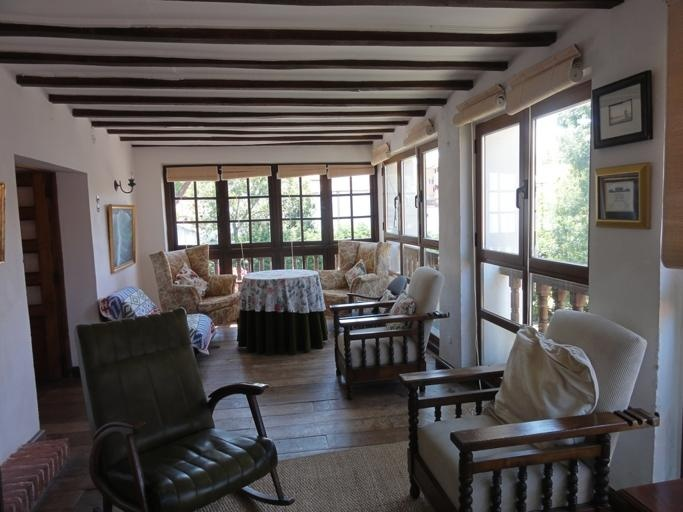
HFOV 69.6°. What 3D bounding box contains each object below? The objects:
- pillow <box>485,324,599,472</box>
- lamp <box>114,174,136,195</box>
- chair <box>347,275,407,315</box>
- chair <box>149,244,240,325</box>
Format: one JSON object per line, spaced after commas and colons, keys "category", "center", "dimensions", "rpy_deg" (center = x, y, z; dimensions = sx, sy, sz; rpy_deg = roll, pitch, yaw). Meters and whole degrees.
{"category": "pillow", "center": [1.077, 0.773, 2.611], "dimensions": [0.234, 0.508, 0.581], "rpy_deg": [11, 10, -11]}
{"category": "lamp", "center": [-2.778, -0.919, 6.314], "dimensions": [0.256, 0.340, 0.178], "rpy_deg": [-1, 3, 5]}
{"category": "chair", "center": [0.371, 0.415, 5.261], "dimensions": [0.547, 0.630, 0.466], "rpy_deg": [2, -1, -1]}
{"category": "chair", "center": [-1.929, 0.379, 6.780], "dimensions": [1.061, 1.407, 1.101], "rpy_deg": [-2, 5, 18]}
